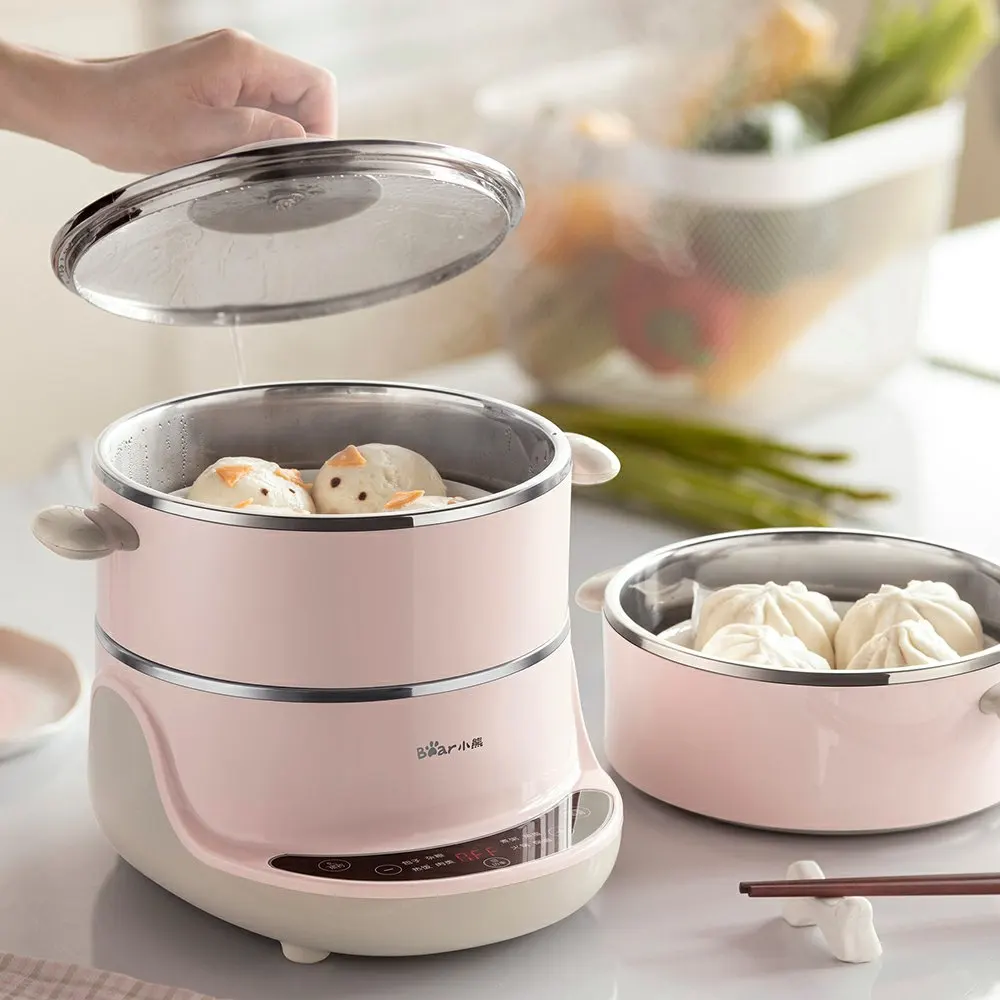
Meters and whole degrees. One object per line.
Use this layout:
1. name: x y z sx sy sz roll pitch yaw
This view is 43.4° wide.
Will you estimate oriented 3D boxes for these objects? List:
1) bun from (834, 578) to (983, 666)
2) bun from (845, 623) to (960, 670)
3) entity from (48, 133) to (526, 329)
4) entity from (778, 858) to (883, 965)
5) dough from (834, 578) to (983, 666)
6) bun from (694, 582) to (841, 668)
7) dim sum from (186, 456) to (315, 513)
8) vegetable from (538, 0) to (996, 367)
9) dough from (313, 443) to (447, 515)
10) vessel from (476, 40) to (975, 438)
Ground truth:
1. bun: 0.209 0.064 0.644 0.069 0.023 0.055 -9 10 -11
2. bun: 0.198 0.074 0.621 0.040 0.011 0.037 -9 3 -37
3. entity: -0.098 -0.123 0.605 0.217 0.111 0.149 -2 25 1
4. entity: 0.142 0.180 0.544 0.020 0.018 0.047 -5 8 -24
5. dough: 0.209 0.064 0.643 0.069 0.023 0.055 -9 10 -11
6. bun: 0.145 0.062 0.656 0.062 0.019 0.066 2 5 5
7. dim sum: -0.119 -0.013 0.597 0.051 0.011 0.040 11 15 17
8. vegetable: 0.277 -0.310 1.169 0.447 0.227 0.316 -26 40 -30
9. dough: -0.060 -0.015 0.631 0.036 0.021 0.039 -32 6 -15
10. vessel: 0.172 -0.246 1.125 0.515 0.238 0.362 13 27 32
